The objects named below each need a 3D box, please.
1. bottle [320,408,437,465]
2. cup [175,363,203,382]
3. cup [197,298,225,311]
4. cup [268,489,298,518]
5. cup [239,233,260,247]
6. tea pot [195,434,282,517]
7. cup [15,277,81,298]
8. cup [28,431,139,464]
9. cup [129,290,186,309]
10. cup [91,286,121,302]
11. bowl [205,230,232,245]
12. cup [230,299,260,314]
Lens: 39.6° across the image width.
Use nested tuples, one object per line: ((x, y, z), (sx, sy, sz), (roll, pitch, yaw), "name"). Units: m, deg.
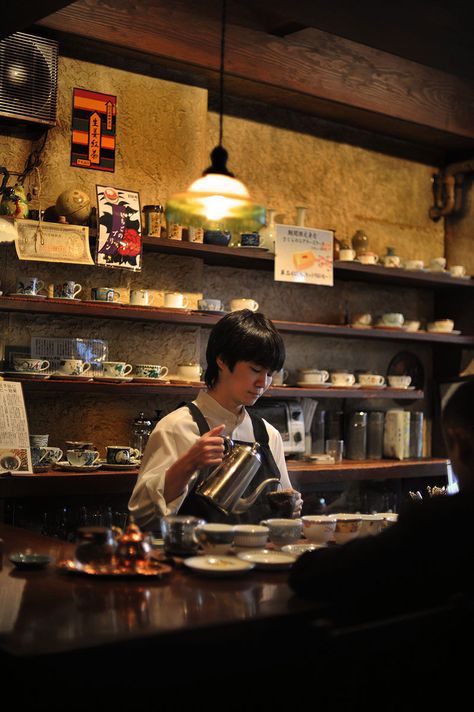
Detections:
((0.815, 0.446, 3.660), (0.481, 0.282, 0.314), (-1, 2, -6), "bottle")
((-0.216, 0.078, 2.998), (0.078, 0.058, 0.095), (-1, -8, 14), "cup")
((-0.133, -0.234, 3.099), (0.093, 0.055, 0.077), (0, 3, 12), "cup")
((0.099, 0.331, 1.466), (0.063, 0.051, 0.060), (-1, -19, 0), "cup")
((0.060, -0.564, 3.212), (0.066, 0.052, 0.081), (1, -5, -21), "cup")
((-0.014, 0.272, 1.456), (0.147, 0.139, 0.129), (1, -2, -4), "tea pot")
((-0.766, -0.274, 2.687), (0.253, 0.077, 0.100), (3, -8, -12), "cup")
((-0.612, 0.386, 2.708), (0.467, 0.122, 0.120), (2, -2, -24), "cup")
((-0.365, -0.259, 2.946), (0.191, 0.059, 0.105), (5, -8, -26), "cup")
((-0.562, -0.263, 2.841), (0.101, 0.055, 0.070), (4, -9, -27), "cup")
((-0.094, -0.555, 3.104), (0.090, 0.051, 0.089), (0, -3, 0), "bowl")
((0.024, -0.241, 3.116), (0.138, 0.066, 0.158), (-2, -9, 9), "cup")
